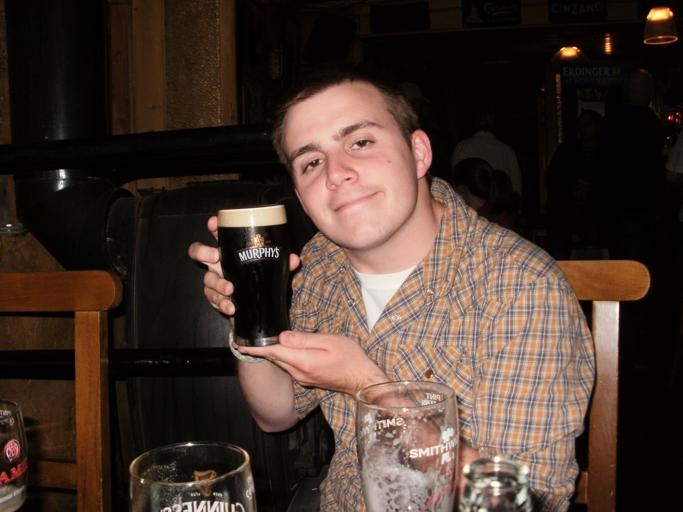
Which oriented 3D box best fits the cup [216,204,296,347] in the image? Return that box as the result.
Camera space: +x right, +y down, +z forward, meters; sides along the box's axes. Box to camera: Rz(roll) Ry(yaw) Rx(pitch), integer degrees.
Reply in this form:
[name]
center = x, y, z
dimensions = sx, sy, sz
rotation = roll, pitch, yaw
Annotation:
[cup]
center = -0.235, 0.058, 1.720
dimensions = 0.188, 0.352, 0.193
rotation = -2, -1, 0
